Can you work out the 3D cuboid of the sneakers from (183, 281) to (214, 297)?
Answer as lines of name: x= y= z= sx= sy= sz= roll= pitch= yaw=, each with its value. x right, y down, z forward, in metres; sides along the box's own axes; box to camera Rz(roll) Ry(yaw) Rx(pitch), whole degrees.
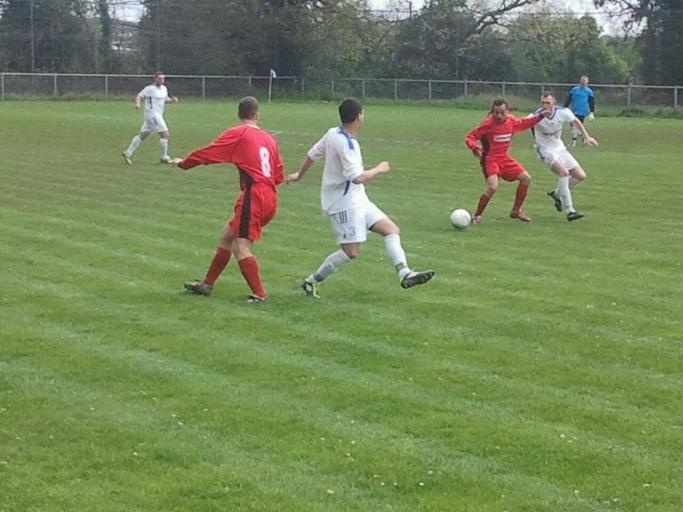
sneakers: x=-1.560 y=0.333 z=9.276 sx=0.309 sy=0.129 sz=0.140 roll=13 pitch=8 yaw=5

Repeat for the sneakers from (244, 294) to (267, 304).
sneakers: x=-0.928 y=0.456 z=9.183 sx=0.226 sy=0.091 sz=0.081 roll=0 pitch=10 yaw=-13

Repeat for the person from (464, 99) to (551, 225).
person: x=2.499 y=-1.483 z=13.172 sx=1.154 sy=1.867 sz=0.544 roll=1 pitch=6 yaw=-15

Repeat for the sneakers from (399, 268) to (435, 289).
sneakers: x=0.759 y=0.237 z=8.816 sx=0.230 sy=0.151 sz=0.443 roll=2 pitch=-10 yaw=-41

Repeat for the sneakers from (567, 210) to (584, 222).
sneakers: x=3.570 y=-0.620 z=13.041 sx=0.312 sy=0.159 sz=0.116 roll=-9 pitch=27 yaw=50

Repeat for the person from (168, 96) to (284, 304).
person: x=-1.135 y=-0.633 z=9.202 sx=0.957 sy=2.178 sz=0.532 roll=2 pitch=6 yaw=-5

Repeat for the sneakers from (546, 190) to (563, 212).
sneakers: x=3.578 y=-0.941 z=14.005 sx=0.191 sy=0.415 sz=0.151 roll=-31 pitch=8 yaw=-5

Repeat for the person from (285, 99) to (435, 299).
person: x=0.136 y=-0.604 z=9.148 sx=1.545 sy=2.148 sz=0.558 roll=8 pitch=8 yaw=40

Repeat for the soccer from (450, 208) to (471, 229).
soccer: x=1.742 y=-0.548 z=12.428 sx=0.289 sy=0.282 sz=0.282 roll=3 pitch=13 yaw=29

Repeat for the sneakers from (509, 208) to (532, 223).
sneakers: x=2.870 y=-0.643 z=13.229 sx=0.429 sy=0.198 sz=0.147 roll=13 pitch=30 yaw=29
